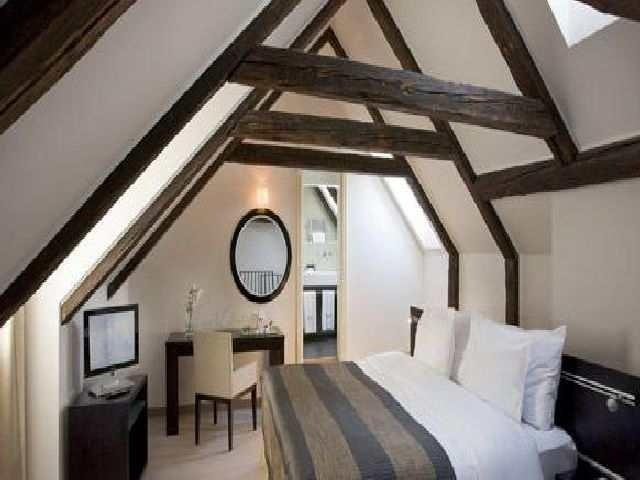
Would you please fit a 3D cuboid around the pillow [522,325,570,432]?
[{"bbox_3d":[1.477,0.882,3.530,0.436,0.573,0.150,4,5,43],"label":"pillow"}]

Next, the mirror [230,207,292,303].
[{"bbox_3d":[-0.641,0.170,5.589,0.824,1.474,0.079,0,1,-17],"label":"mirror"}]

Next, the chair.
[{"bbox_3d":[-0.851,1.247,4.837,0.553,1.002,0.870,0,9,6],"label":"chair"}]

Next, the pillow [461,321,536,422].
[{"bbox_3d":[1.193,0.894,3.595,0.216,0.460,0.508,-7,3,-18],"label":"pillow"}]
